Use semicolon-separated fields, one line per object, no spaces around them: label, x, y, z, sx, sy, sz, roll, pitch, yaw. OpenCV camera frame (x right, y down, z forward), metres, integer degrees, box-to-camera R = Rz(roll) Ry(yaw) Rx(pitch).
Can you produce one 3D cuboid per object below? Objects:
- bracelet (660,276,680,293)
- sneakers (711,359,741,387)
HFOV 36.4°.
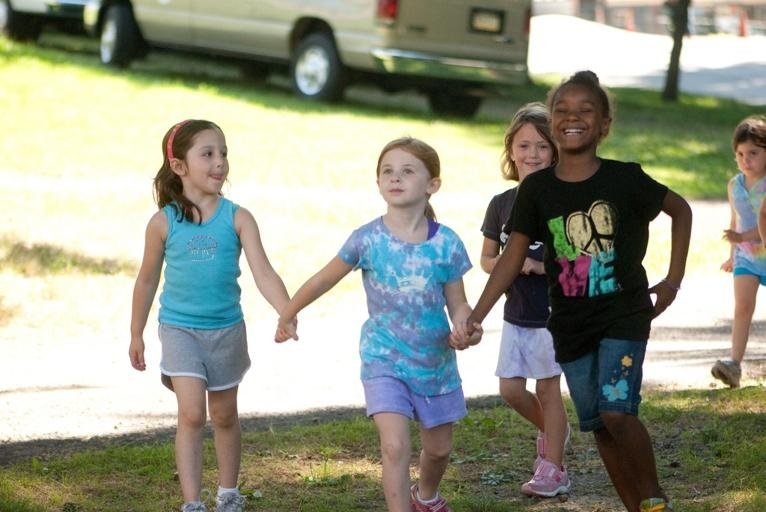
bracelet;2.054;0.203;8.336;0.137;0.067;0.083;32;0;-18
sneakers;3.012;1.024;10.211;0.245;0.208;0.258;2;8;15
